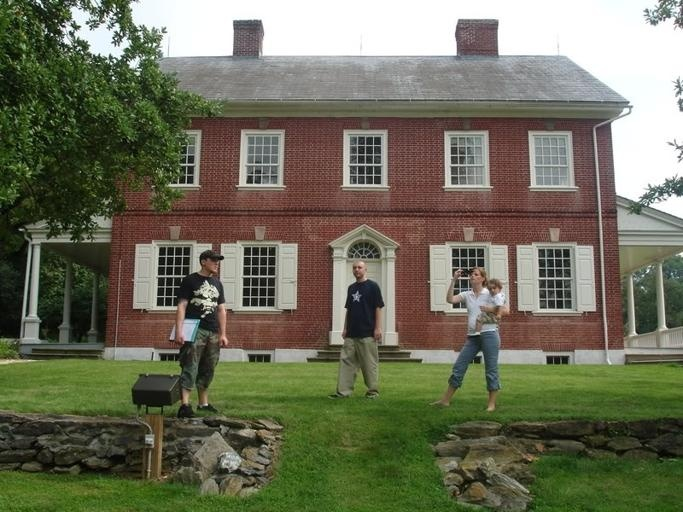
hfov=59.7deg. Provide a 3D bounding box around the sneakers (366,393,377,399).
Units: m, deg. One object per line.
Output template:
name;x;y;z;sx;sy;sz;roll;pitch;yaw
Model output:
sneakers;0.511;2.421;10.381;0.210;0.084;0.182;0;-10;0

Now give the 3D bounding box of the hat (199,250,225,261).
hat;-2.518;-0.007;11.532;0.570;0.177;0.332;-2;-4;-1

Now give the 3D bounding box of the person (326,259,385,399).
person;0.276;1.411;10.362;0.833;2.057;0.605;0;-11;4

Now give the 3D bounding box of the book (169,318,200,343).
book;-2.281;1.109;8.890;0.385;0.333;0.083;3;-3;-1

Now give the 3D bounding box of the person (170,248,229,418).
person;-2.150;1.184;9.206;0.716;2.525;0.803;-1;-11;7

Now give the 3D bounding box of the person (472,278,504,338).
person;2.385;0.798;9.717;0.461;0.875;0.329;-2;-11;14

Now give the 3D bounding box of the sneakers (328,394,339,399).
sneakers;-0.140;2.422;10.329;0.162;0.064;0.112;0;-10;-1
